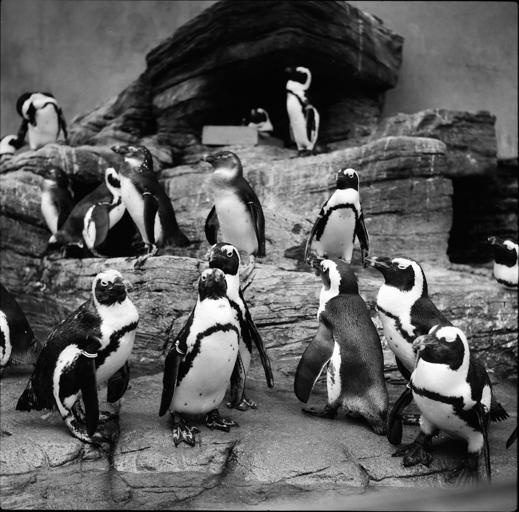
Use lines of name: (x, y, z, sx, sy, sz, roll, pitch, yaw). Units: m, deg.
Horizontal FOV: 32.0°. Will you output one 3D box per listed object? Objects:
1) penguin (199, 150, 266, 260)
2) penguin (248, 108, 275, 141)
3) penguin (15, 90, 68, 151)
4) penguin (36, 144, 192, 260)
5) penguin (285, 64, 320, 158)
penguin: (-0.202, -0.377, 7.215, 0.488, 0.891, 0.483, -1, 11, 5)
penguin: (0.041, -1.353, 9.476, 0.320, 0.425, 0.289, 2, 5, -24)
penguin: (-2.112, -1.303, 8.816, 0.482, 0.541, 0.290, -1, 5, -15)
penguin: (-1.121, -0.366, 7.564, 0.973, 1.038, 0.702, -6, 14, 1)
penguin: (0.432, -1.464, 9.094, 0.304, 0.861, 0.340, 0, 4, 4)
